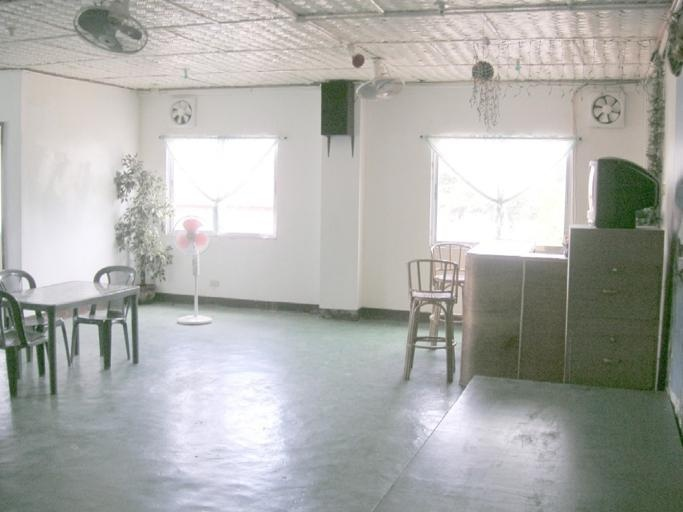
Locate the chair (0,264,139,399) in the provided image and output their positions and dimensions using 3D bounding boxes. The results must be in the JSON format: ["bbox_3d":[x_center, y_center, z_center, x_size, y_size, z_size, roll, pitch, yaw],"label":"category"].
[{"bbox_3d":[-2.773,0.716,5.800,0.959,1.205,1.746,2,3,20],"label":"chair"}]

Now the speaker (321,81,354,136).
[{"bbox_3d":[-0.068,-2.082,7.550,0.392,0.743,0.159,0,8,-5],"label":"speaker"}]

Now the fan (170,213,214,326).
[{"bbox_3d":[-2.143,0.160,7.777,0.471,1.495,1.255,-2,8,-17],"label":"fan"}]

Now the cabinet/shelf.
[{"bbox_3d":[1.848,0.472,4.300,1.190,1.231,0.669,4,10,27],"label":"cabinet/shelf"}]
